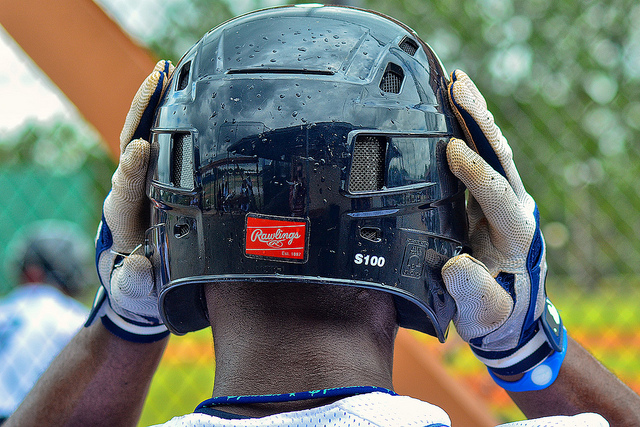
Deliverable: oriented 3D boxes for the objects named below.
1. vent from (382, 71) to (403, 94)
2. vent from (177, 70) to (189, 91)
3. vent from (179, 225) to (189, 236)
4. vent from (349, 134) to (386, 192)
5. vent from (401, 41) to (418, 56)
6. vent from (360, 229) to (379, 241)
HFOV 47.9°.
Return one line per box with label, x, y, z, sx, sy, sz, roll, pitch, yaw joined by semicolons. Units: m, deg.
vent;0.316;-0.573;3.150;0.073;0.066;0.080;9;32;13
vent;-0.622;-0.602;3.261;0.057;0.071;0.092;-6;32;-11
vent;-0.598;0.075;3.148;0.053;0.041;0.020;14;32;20
vent;0.210;-0.215;3.068;0.198;0.221;0.050;2;0;-13
vent;0.403;-0.746;3.249;0.062;0.040;0.074;12;34;16
vent;0.212;0.098;3.079;0.062;0.017;0.049;20;59;-19
